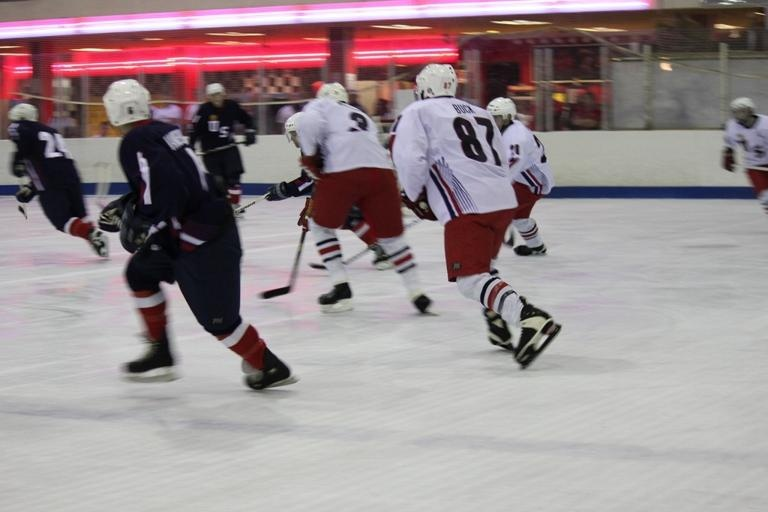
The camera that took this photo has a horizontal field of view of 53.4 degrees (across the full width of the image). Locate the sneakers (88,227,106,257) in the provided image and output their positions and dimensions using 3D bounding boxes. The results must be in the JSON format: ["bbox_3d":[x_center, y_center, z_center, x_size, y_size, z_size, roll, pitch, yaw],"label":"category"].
[{"bbox_3d":[-2.827,-0.136,7.623,0.172,0.305,0.169,-24,-6,-15],"label":"sneakers"}]

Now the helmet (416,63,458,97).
[{"bbox_3d":[0.336,-1.018,4.575,0.265,0.195,0.266,-4,9,-17],"label":"helmet"}]

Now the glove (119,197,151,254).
[{"bbox_3d":[-1.175,-0.136,3.603,0.114,0.254,0.205,-6,10,-23],"label":"glove"}]

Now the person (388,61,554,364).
[{"bbox_3d":[0.508,-0.267,4.258,0.574,1.678,1.092,-8,11,-33],"label":"person"}]

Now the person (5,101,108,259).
[{"bbox_3d":[-3.342,-0.772,7.793,1.325,1.577,0.600,6,12,39],"label":"person"}]

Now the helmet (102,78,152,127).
[{"bbox_3d":[-1.316,-0.749,3.714,0.294,0.195,0.271,7,24,6],"label":"helmet"}]

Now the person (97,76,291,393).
[{"bbox_3d":[-0.875,0.013,3.657,0.842,1.319,0.274,-2,10,-4],"label":"person"}]

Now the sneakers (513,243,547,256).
[{"bbox_3d":[1.474,-0.056,7.637,0.376,0.095,0.106,-2,11,11],"label":"sneakers"}]

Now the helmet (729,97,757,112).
[{"bbox_3d":[4.227,-1.761,8.985,0.221,0.165,0.326,2,8,24],"label":"helmet"}]

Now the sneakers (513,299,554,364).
[{"bbox_3d":[0.797,0.408,3.977,0.216,0.385,0.105,2,11,20],"label":"sneakers"}]
